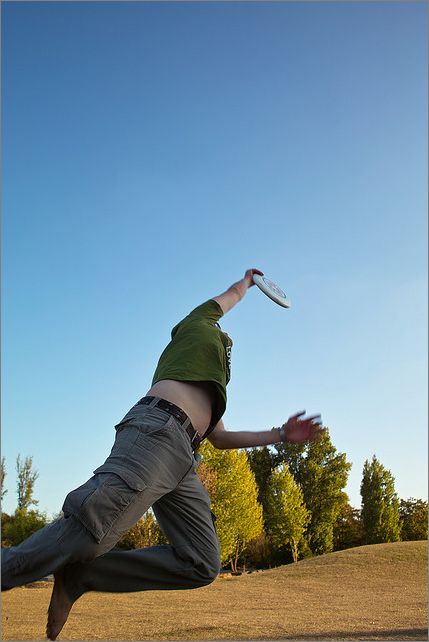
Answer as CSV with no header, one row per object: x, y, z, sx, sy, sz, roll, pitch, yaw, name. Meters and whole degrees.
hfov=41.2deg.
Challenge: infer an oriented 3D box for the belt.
-0.223,0.530,3.226,0.370,0.086,0.362,53,-23,-25,belt
